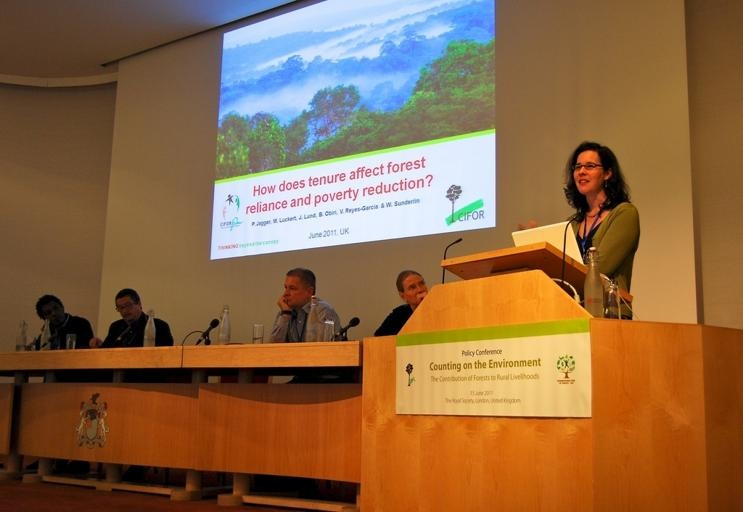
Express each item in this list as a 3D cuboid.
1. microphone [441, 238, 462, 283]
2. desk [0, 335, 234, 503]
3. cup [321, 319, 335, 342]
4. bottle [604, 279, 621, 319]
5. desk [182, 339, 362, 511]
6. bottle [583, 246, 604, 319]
[{"bbox_3d":[0.514,0.021,4.509,0.146,0.471,0.075,-8,-35,19],"label":"microphone"},{"bbox_3d":[-1.525,0.930,4.188,1.046,0.552,1.150,-5,-18,17],"label":"desk"},{"bbox_3d":[-0.228,0.403,3.732,0.079,0.175,0.086,0,-3,0],"label":"cup"},{"bbox_3d":[1.049,0.184,3.039,0.067,0.205,0.191,-3,-14,19],"label":"bottle"},{"bbox_3d":[-0.497,0.906,3.733,1.139,0.844,0.330,-6,-14,27],"label":"desk"},{"bbox_3d":[0.946,0.112,2.981,0.077,0.305,0.063,-3,-12,20],"label":"bottle"}]
